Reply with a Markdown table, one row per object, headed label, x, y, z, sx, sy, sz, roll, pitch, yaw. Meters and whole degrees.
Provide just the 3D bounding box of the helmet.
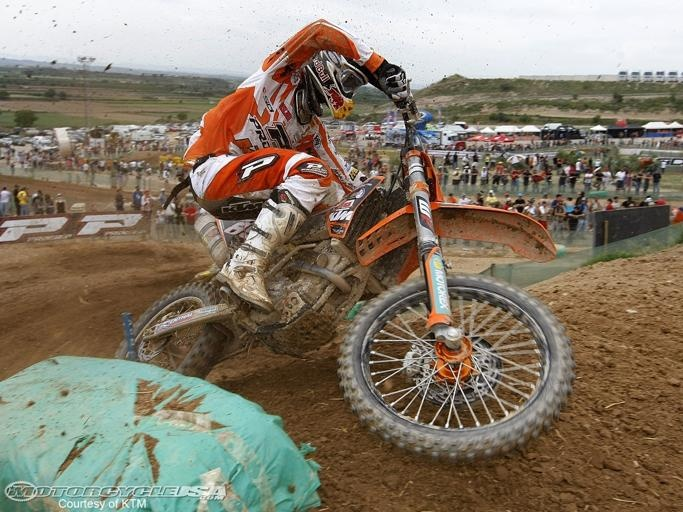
| label | x | y | z | sx | sy | sz | roll | pitch | yaw |
| --- | --- | --- | --- | --- | --- | --- | --- | --- | --- |
| helmet | -0.088 | -1.415 | 3.765 | 0.827 | 0.436 | 0.481 | 1 | 16 | -9 |
